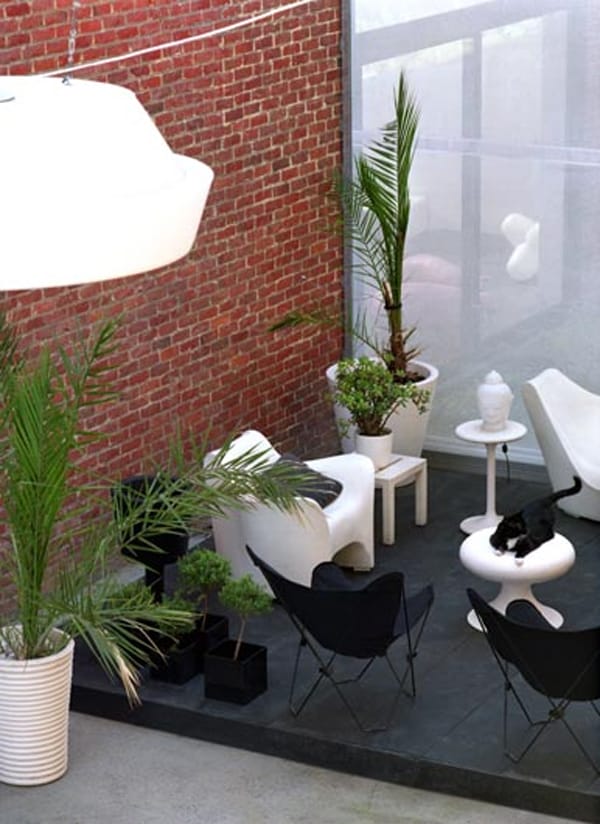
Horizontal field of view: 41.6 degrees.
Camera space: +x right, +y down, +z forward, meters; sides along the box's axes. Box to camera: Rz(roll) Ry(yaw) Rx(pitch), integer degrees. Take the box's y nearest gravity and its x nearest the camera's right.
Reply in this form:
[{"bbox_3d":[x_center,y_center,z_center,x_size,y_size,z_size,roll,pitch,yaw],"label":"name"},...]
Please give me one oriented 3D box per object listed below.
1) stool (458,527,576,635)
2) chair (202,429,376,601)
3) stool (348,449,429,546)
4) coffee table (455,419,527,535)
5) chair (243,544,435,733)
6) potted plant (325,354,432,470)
[{"bbox_3d":[1.200,0.961,4.518,0.603,0.439,0.596,1,23,6],"label":"stool"},{"bbox_3d":[0.051,0.642,5.031,1.013,0.933,1.043,3,15,29],"label":"chair"},{"bbox_3d":[0.726,0.595,5.731,0.558,0.536,0.547,8,21,25],"label":"stool"},{"bbox_3d":[1.407,0.482,5.743,0.593,0.777,0.555,-11,19,-27],"label":"coffee table"},{"bbox_3d":[0.358,0.994,3.972,0.827,0.800,0.916,6,15,37],"label":"chair"},{"bbox_3d":[0.656,-0.025,6.238,0.730,0.760,0.788,-1,16,2],"label":"potted plant"}]
